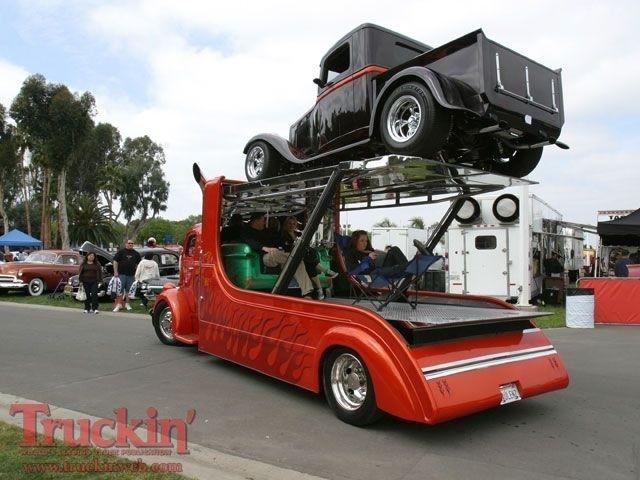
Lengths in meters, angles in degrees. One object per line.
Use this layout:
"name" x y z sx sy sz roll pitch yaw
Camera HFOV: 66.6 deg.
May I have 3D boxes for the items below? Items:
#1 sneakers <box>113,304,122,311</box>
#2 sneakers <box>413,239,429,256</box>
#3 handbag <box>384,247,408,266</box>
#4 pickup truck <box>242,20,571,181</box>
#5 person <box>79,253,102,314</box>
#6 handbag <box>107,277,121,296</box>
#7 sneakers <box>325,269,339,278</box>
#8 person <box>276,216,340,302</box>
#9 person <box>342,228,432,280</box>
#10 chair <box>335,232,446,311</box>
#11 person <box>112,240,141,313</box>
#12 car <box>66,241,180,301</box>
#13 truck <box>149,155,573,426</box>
"sneakers" -6.011 2.017 14.499 0.218 0.224 0.522 0 1 -24
"sneakers" 1.410 0.108 7.040 0.246 0.107 0.320 25 2 -17
"handbag" 1.075 0.265 7.050 0.099 0.215 0.383 32 8 -20
"pickup truck" 1.135 -2.065 8.352 2.833 2.331 5.094 1 -1 -36
"person" -6.527 1.233 13.951 0.583 1.759 0.776 0 2 -9
"handbag" -6.062 1.363 14.368 0.426 0.579 0.252 1 2 19
"sneakers" 0.174 0.602 8.652 0.102 0.134 0.279 -6 9 -25
"person" -0.140 0.427 8.533 0.729 1.846 0.877 2 -8 -35
"person" 0.884 0.231 7.106 1.284 0.804 0.700 -12 -6 30
"chair" 0.942 0.442 7.078 1.513 1.123 1.004 2 4 38
"person" -5.733 1.074 14.545 0.768 2.129 1.127 0 2 -21
"car" -6.253 1.139 17.319 4.506 2.135 2.190 5 -8 -35
"truck" 0.257 0.797 7.857 3.409 3.150 6.089 4 -1 -41
